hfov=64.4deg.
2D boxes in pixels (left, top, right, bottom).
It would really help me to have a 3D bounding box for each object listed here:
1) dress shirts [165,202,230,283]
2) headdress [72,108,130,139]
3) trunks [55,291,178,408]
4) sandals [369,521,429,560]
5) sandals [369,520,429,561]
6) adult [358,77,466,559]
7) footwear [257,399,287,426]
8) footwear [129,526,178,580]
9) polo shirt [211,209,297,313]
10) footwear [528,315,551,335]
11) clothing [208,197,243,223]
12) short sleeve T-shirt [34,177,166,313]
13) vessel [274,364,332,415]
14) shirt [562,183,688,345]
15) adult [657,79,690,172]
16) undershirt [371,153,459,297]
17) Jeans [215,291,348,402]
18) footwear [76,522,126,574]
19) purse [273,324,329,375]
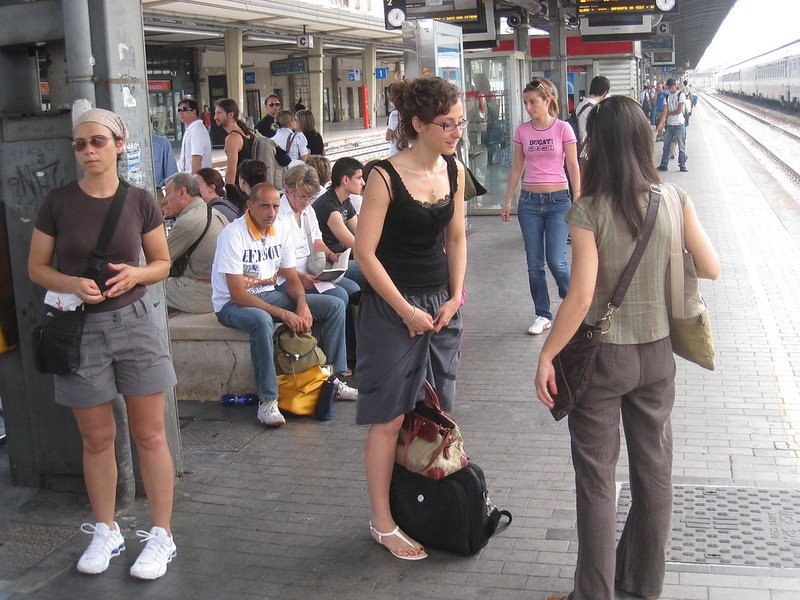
[{"bbox_3d":[-1.844,-0.500,5.707,0.307,0.562,0.585,28,24,20],"label":"dress shirts"},{"bbox_3d":[-1.543,-0.912,3.308,0.176,0.164,0.305,1,14,18],"label":"headdress"},{"bbox_3d":[-1.533,0.265,3.338,0.645,0.634,0.378,-8,3,-24],"label":"trunks"},{"bbox_3d":[-0.010,1.307,3.506,0.330,0.138,0.134,22,46,36],"label":"sandals"},{"bbox_3d":[-0.027,1.295,3.525,0.348,0.144,0.132,25,55,39],"label":"sandals"},{"bbox_3d":[0.067,0.102,3.435,0.759,2.497,0.425,-14,17,-40],"label":"adult"},{"bbox_3d":[-1.065,0.925,5.169,0.117,0.133,0.316,0,-1,-35],"label":"footwear"},{"bbox_3d":[-1.345,1.360,3.443,0.142,0.140,0.289,6,3,5],"label":"footwear"},{"bbox_3d":[-1.276,-0.308,5.478,0.389,0.772,0.763,19,20,33],"label":"polo shirt"},{"bbox_3d":[1.528,0.270,6.970,0.122,0.151,0.351,4,13,35],"label":"footwear"},{"bbox_3d":[-1.812,-0.917,6.463,0.394,0.180,0.333,22,14,16],"label":"clothing"},{"bbox_3d":[-1.580,-0.284,3.301,0.739,0.712,0.393,-2,13,-33],"label":"short sleeve T-shirt"},{"bbox_3d":[-0.829,0.747,5.418,0.376,0.373,0.397,3,4,21],"label":"vessel"},{"bbox_3d":[0.948,-0.153,2.670,0.596,0.642,0.359,-2,11,-2],"label":"shirt"},{"bbox_3d":[7.854,-5.066,18.366,0.879,2.588,0.678,3,15,34],"label":"adult"},{"bbox_3d":[0.053,-0.396,3.289,0.389,0.710,0.585,17,22,41],"label":"undershirt"},{"bbox_3d":[-0.967,0.204,5.733,0.928,1.332,1.013,1,6,30],"label":"Jeans"},{"bbox_3d":[-1.668,1.339,3.516,0.145,0.147,0.304,2,8,7],"label":"footwear"},{"bbox_3d":[-0.886,0.428,5.448,0.348,0.337,0.197,-9,-13,-33],"label":"purse"}]
